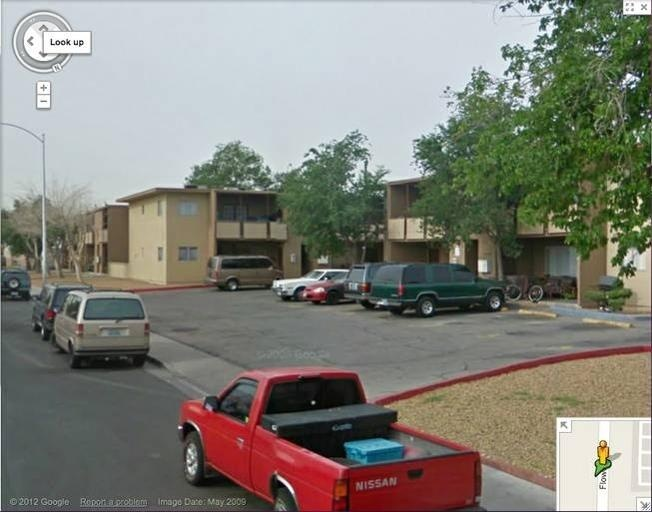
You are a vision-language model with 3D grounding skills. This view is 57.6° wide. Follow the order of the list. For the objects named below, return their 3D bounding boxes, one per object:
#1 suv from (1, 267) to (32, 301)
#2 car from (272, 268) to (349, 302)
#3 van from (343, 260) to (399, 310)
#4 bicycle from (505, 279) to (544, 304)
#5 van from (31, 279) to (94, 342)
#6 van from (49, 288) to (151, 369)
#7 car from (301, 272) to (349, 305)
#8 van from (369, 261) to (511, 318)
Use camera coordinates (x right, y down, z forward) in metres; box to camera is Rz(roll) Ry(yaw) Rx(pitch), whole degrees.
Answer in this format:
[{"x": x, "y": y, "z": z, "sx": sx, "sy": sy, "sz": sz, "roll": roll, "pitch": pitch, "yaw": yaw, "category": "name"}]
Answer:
[{"x": -16.726, "y": 1.589, "z": 32.026, "sx": 1.352, "sy": 1.385, "sz": 2.486, "roll": -1, "pitch": 8, "yaw": -18, "category": "suv"}, {"x": -0.691, "y": 1.345, "z": 30.356, "sx": 3.544, "sy": 1.280, "sz": 1.674, "roll": 0, "pitch": -1, "yaw": -32, "category": "car"}, {"x": 2.045, "y": 1.014, "z": 25.239, "sx": 2.097, "sy": 1.237, "sz": 1.177, "roll": -5, "pitch": 7, "yaw": -32, "category": "van"}, {"x": 9.522, "y": 1.646, "z": 27.485, "sx": 2.207, "sy": 1.429, "sz": 1.044, "roll": 0, "pitch": -3, "yaw": 4, "category": "bicycle"}, {"x": -8.701, "y": 1.763, "z": 18.842, "sx": 1.729, "sy": 1.736, "sz": 3.623, "roll": 0, "pitch": 5, "yaw": -20, "category": "van"}, {"x": -5.301, "y": 1.722, "z": 14.350, "sx": 1.360, "sy": 1.383, "sz": 2.681, "roll": 0, "pitch": 5, "yaw": -22, "category": "van"}, {"x": 0.097, "y": 1.647, "z": 28.390, "sx": 2.467, "sy": 0.892, "sz": 1.099, "roll": 1, "pitch": -4, "yaw": -37, "category": "car"}, {"x": 4.447, "y": 0.966, "z": 23.904, "sx": 4.635, "sy": 1.848, "sz": 2.192, "roll": -4, "pitch": 4, "yaw": -31, "category": "van"}]
